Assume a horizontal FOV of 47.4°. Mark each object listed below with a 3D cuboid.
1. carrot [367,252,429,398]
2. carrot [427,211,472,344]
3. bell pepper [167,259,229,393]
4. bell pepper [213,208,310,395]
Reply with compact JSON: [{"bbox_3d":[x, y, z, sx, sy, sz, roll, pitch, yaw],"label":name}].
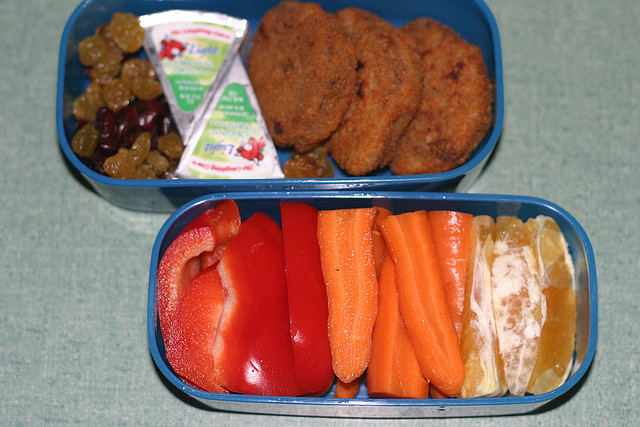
[{"bbox_3d":[0.249,0.389,2.527,0.177,0.118,0.486,-4,85,8],"label":"carrot"},{"bbox_3d":[0.449,0.251,2.445,0.136,0.144,0.553,-2,57,7],"label":"carrot"},{"bbox_3d":[-0.411,0.393,2.424,0.241,0.091,0.363,19,106,46],"label":"bell pepper"},{"bbox_3d":[-0.269,0.316,2.501,0.234,0.475,0.447,16,36,34],"label":"bell pepper"}]
